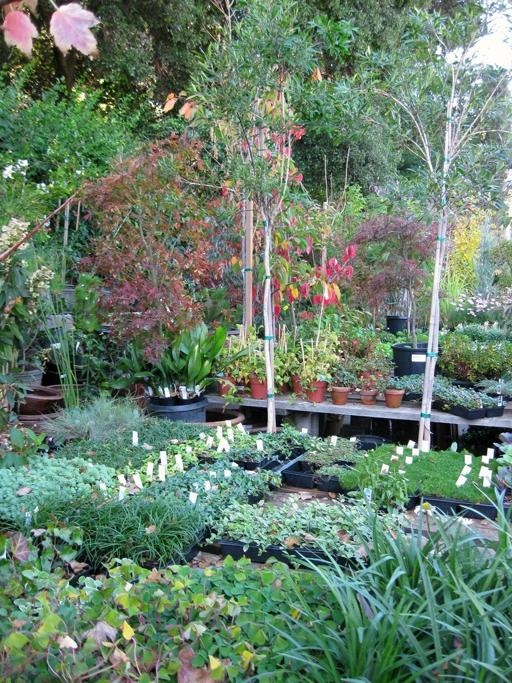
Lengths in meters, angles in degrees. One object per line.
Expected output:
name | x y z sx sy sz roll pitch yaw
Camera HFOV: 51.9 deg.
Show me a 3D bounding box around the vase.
vase | -1.692 0.480 4.340 0.526 0.187 0.530 23 17 18
